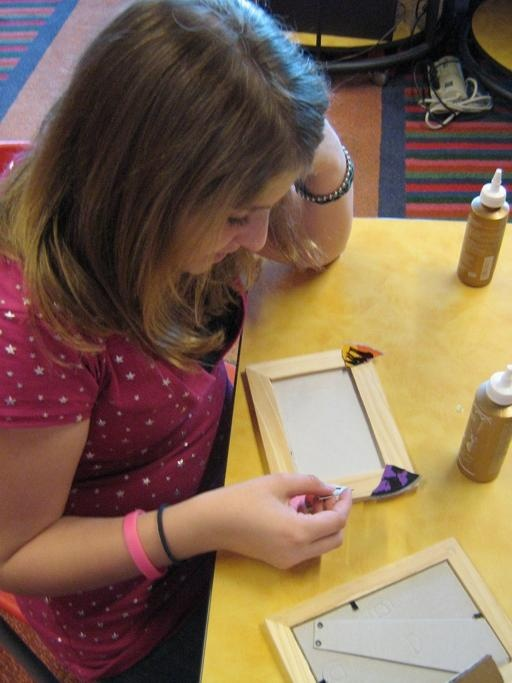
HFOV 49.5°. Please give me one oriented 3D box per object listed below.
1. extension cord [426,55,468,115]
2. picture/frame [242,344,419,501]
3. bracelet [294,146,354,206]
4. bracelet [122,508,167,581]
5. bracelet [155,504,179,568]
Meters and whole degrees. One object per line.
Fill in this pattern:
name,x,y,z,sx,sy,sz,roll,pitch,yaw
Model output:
extension cord,0.742,-0.986,2.231,0.139,0.234,0.169,2,54,8
picture/frame,0.106,0.119,0.762,0.206,0.024,0.266,-8,41,-5
bracelet,0.138,-0.260,0.962,0.096,0.100,0.100,-2,51,-19
bracelet,-0.141,0.246,0.675,0.021,0.070,0.060,-20,9,7
bracelet,-0.111,0.235,0.673,0.013,0.054,0.055,-13,11,-9
